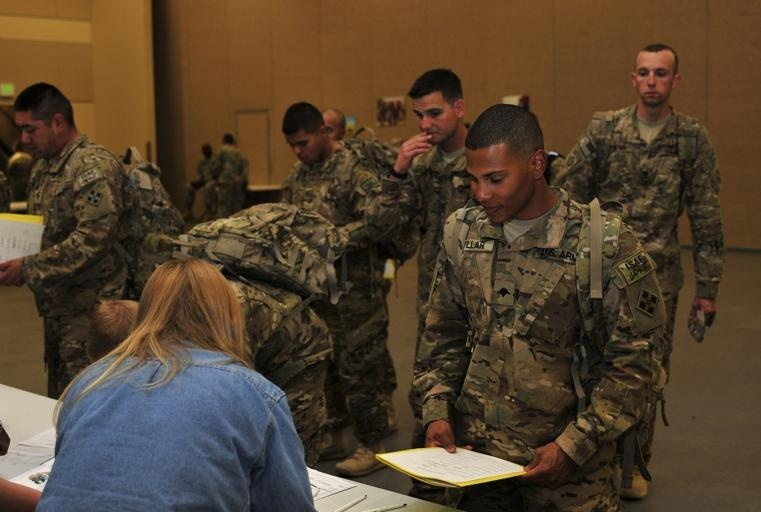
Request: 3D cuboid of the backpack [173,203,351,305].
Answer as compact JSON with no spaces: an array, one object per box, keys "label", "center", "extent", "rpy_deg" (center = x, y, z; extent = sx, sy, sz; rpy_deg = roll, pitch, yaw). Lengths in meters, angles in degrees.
[{"label":"backpack","center":[-0.611,-0.055,4.676],"extent":[0.665,0.323,0.666],"rpy_deg":[18,9,-16]}]
